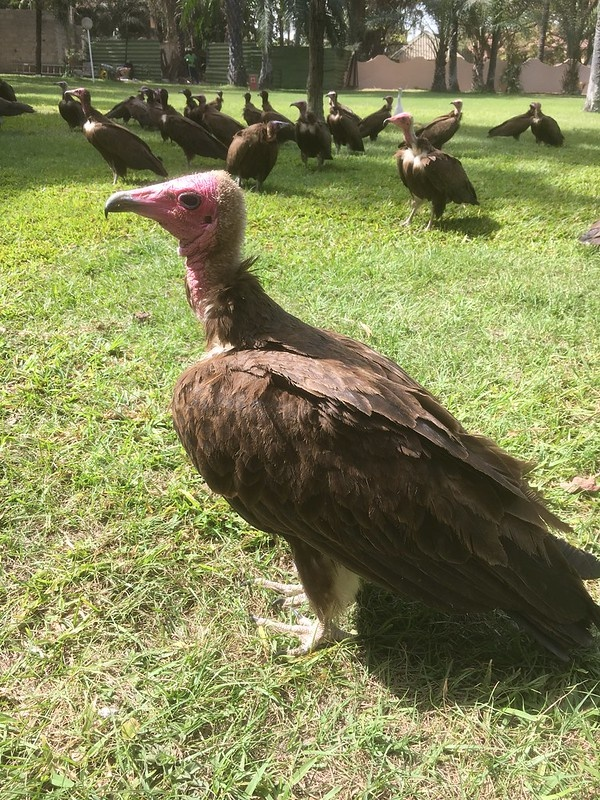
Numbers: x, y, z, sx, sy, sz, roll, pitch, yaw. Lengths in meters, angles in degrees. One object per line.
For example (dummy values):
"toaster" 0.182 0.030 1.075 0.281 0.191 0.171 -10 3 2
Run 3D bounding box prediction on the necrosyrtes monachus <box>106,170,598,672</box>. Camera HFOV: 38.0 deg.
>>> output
"necrosyrtes monachus" 0.237 0.105 3.173 1.802 1.750 0.751 8 20 20
